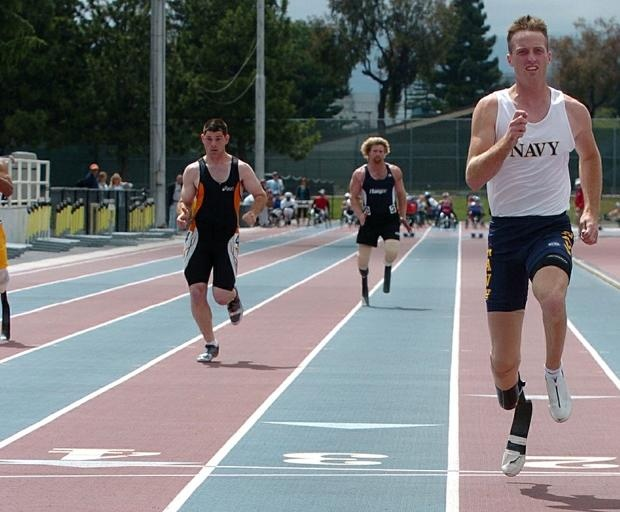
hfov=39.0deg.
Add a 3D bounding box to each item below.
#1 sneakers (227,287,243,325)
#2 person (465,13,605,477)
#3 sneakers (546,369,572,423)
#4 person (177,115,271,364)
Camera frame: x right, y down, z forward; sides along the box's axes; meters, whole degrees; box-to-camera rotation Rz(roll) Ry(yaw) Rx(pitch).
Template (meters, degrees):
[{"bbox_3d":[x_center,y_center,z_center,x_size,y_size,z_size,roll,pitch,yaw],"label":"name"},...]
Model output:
[{"bbox_3d":[-0.751,0.500,8.405,0.133,0.390,0.157,-3,10,25],"label":"sneakers"},{"bbox_3d":[1.186,-0.066,4.568,0.766,2.389,0.646,0,4,-1],"label":"person"},{"bbox_3d":[1.271,0.721,4.502,0.106,0.318,0.136,-6,-19,23],"label":"sneakers"},{"bbox_3d":[-0.836,-0.127,7.836,0.751,2.173,0.421,-1,4,-14],"label":"person"}]
